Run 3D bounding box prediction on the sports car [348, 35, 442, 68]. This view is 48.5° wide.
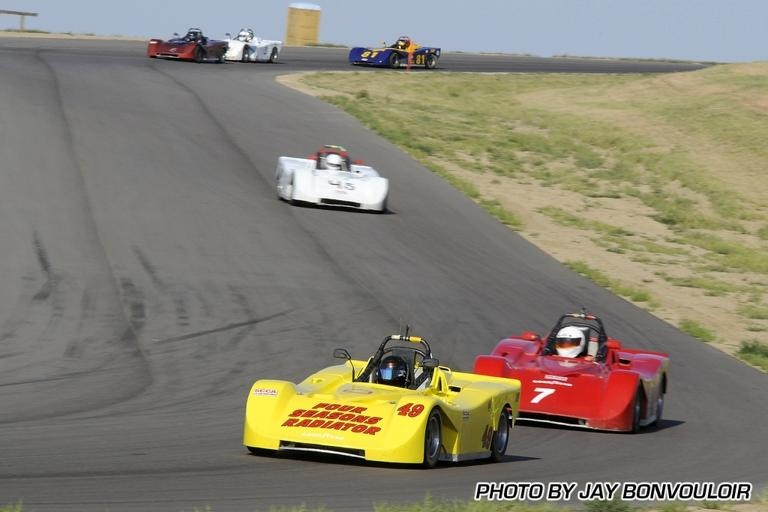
[{"bbox_3d":[0.639,-12.965,55.062,5.195,1.797,2.168,-9,22,-36],"label":"sports car"}]

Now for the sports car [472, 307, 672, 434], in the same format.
[{"bbox_3d":[3.511,2.019,16.633,3.508,0.972,3.824,13,18,25],"label":"sports car"}]

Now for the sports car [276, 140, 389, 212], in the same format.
[{"bbox_3d":[-1.658,-2.594,27.606,3.776,0.937,3.577,4,23,-12],"label":"sports car"}]

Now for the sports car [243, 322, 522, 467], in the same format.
[{"bbox_3d":[0.344,2.289,13.608,3.187,0.994,3.541,1,-1,26],"label":"sports car"}]
